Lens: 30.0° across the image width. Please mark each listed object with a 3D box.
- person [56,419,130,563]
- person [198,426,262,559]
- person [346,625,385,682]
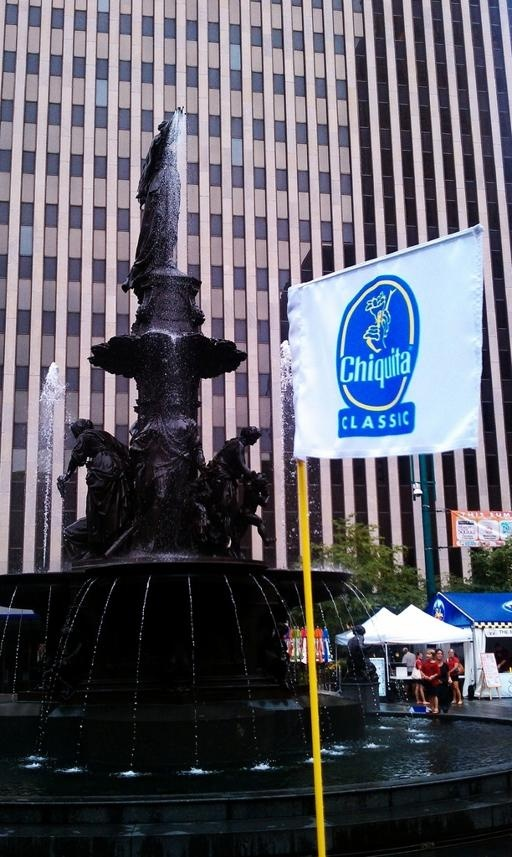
[{"bbox_3d":[-2.222,0.933,13.655,0.935,1.825,0.609,-5,-16,2],"label":"person"},{"bbox_3d":[-0.290,0.862,13.843,0.745,1.987,1.251,-13,-18,27],"label":"person"},{"bbox_3d":[2.165,4.462,18.975,0.641,1.093,0.610,0,0,5],"label":"person"}]
